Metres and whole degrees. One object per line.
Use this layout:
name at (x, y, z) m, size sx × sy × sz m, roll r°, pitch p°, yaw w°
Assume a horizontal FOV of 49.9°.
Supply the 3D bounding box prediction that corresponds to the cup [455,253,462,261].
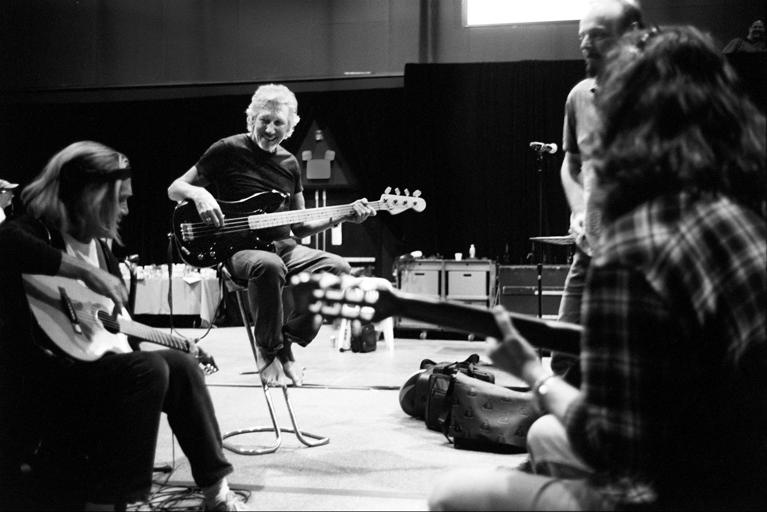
cup at (0.871, 0.012, 9.482) m, size 0.083 × 0.072 × 0.088 m, roll 0°, pitch -8°, yaw 0°

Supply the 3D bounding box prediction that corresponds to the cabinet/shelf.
cabinet/shelf at (0.791, 0.668, 9.732) m, size 1.252 × 0.934 × 0.763 m, roll 0°, pitch -2°, yaw 12°

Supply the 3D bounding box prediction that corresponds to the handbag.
handbag at (0.474, 0.896, 4.871) m, size 0.555 × 0.325 × 0.736 m, roll 0°, pitch 7°, yaw -40°

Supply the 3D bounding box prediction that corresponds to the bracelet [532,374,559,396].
bracelet at (0.525, 0.425, 2.735) m, size 0.016 × 0.062 × 0.062 m, roll 28°, pitch 39°, yaw -13°

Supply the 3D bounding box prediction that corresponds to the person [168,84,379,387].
person at (-0.711, -0.177, 4.869) m, size 1.080 × 1.712 × 0.969 m, roll -3°, pitch -4°, yaw 26°
